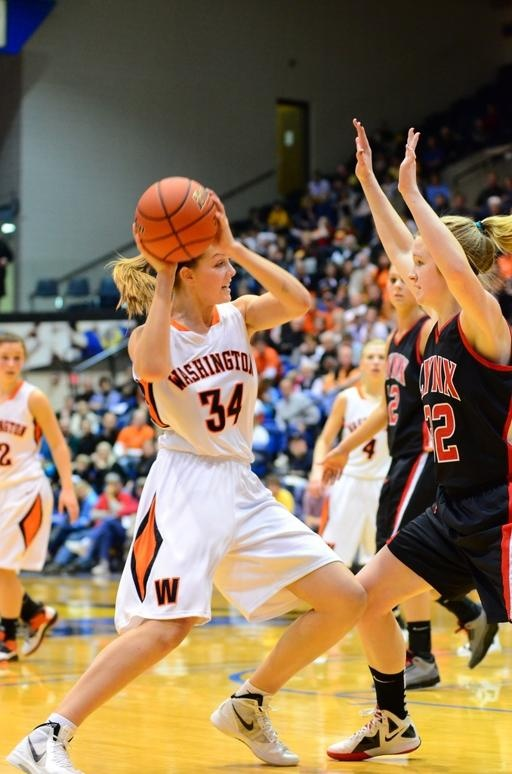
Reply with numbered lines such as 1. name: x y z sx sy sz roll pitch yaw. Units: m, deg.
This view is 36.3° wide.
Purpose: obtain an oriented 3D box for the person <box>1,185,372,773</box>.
1. person: -0.222 0.325 2.247 0.910 1.594 0.551 -7 -1 -21

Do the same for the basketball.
1. basketball: -0.176 -0.456 2.211 0.245 0.232 0.243 -2 10 14

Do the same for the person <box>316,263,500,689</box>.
1. person: 0.776 0.446 3.789 1.008 2.099 0.665 -1 6 8
